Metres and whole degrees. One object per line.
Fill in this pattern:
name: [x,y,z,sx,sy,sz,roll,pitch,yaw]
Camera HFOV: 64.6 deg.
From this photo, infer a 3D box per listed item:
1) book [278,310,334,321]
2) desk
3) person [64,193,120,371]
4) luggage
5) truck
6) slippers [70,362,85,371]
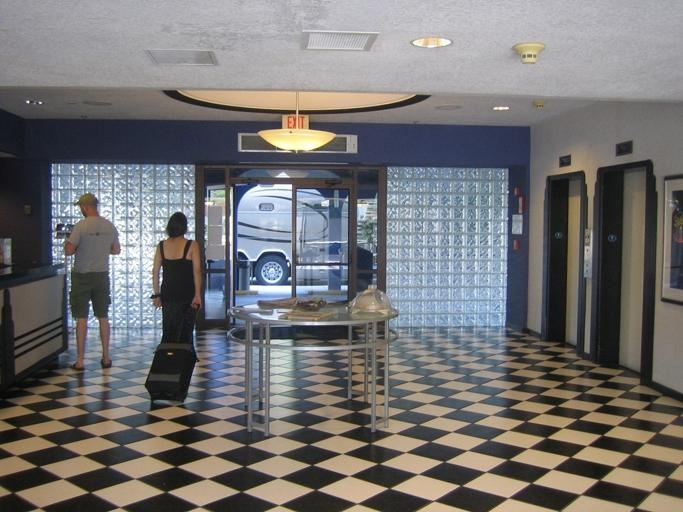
book: [-0.284,0.496,4.478,0.437,0.029,0.296,0,5,-3]
desk: [-0.306,1.162,5.571,1.785,0.897,1.622,-2,-8,21]
person: [-2.864,0.426,6.259,0.553,1.773,0.382,-1,5,-19]
luggage: [-1.668,0.953,5.336,0.436,0.898,0.655,0,5,-8]
truck: [-0.755,-0.465,9.901,3.019,1.996,0.939,0,7,4]
slippers: [-3.017,1.271,6.177,0.181,0.057,0.064,5,5,33]
